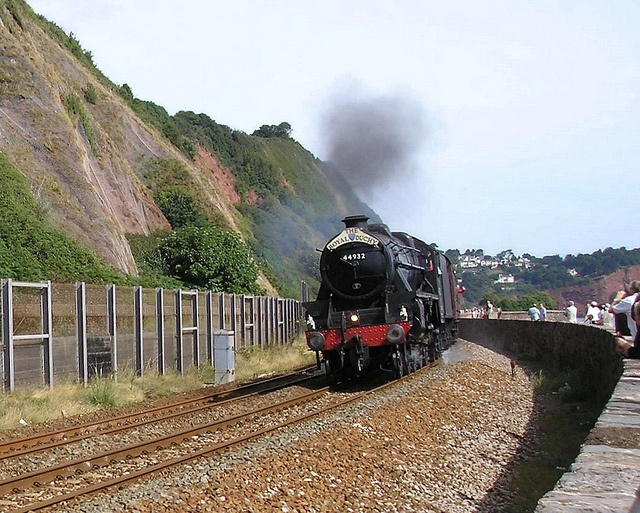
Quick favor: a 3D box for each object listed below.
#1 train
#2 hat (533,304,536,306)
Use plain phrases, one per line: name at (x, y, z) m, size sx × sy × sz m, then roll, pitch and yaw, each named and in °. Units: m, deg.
train at (2.222, 1.350, 14.591) m, size 2.867 × 4.997 × 5.838 m, roll -3°, pitch -7°, yaw 35°
hat at (13.720, 3.117, 30.133) m, size 0.196 × 0.092 × 0.200 m, roll 0°, pitch 3°, yaw 41°
